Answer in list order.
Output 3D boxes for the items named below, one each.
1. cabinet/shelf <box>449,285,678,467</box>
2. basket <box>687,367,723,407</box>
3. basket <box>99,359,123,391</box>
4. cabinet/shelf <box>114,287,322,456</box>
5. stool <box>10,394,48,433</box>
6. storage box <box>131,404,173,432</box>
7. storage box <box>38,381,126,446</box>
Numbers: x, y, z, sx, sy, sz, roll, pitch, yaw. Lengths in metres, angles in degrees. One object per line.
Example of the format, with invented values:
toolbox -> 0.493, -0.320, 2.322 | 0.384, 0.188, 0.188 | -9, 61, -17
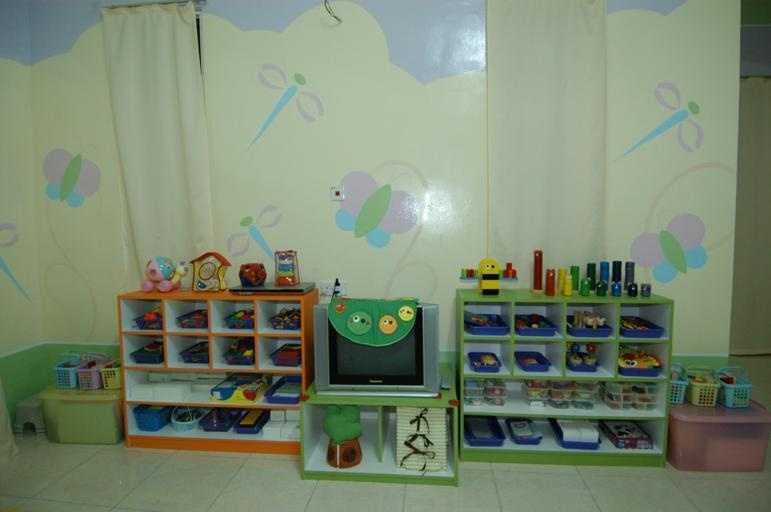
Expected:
cabinet/shelf -> 1.381, 0.946, 4.582 | 1.516, 1.299, 0.476 | -1, 1, 14
basket -> 2.499, 1.064, 4.656 | 0.199, 0.278, 0.287 | 1, 5, 8
basket -> -2.296, 1.000, 4.817 | 0.222, 0.217, 0.162 | 2, -5, -9
cabinet/shelf -> -1.369, 0.967, 4.717 | 1.274, 1.087, 0.420 | 1, 5, 5
stool -> -3.007, 1.339, 4.898 | 0.265, 0.233, 0.353 | -1, 5, -15
storage box -> -1.944, 1.341, 4.780 | 0.177, 0.132, 0.255 | -1, -5, 2
storage box -> -2.525, 1.280, 4.803 | 0.498, 0.317, 0.504 | 1, 0, -9
